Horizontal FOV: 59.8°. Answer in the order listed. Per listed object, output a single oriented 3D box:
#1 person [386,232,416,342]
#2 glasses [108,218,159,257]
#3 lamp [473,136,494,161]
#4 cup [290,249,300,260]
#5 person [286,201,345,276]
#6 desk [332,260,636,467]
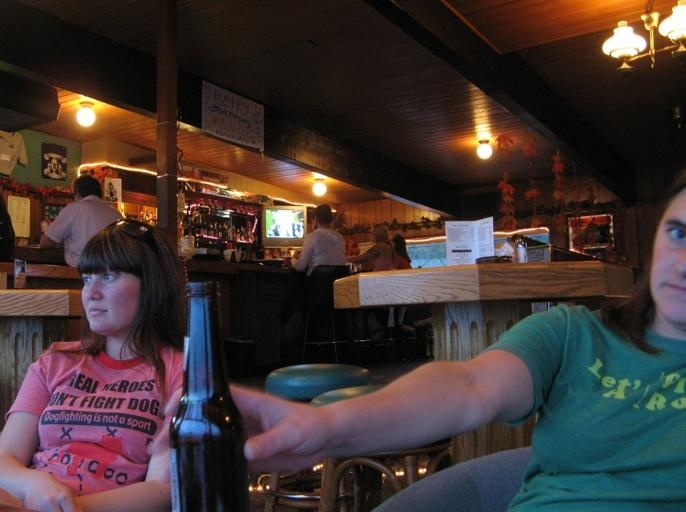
[{"bbox_3d":[0.622,0.210,7.212,0.363,1.103,0.357,-4,25,-6],"label":"person"},{"bbox_3d":[-0.572,-0.062,1.653,0.105,0.109,0.033,10,15,28],"label":"glasses"},{"bbox_3d":[1.936,-1.469,8.098,0.247,0.302,0.252,1,-7,-4],"label":"lamp"},{"bbox_3d":[-0.728,-0.033,9.089,0.116,0.164,0.124,2,-11,0],"label":"cup"},{"bbox_3d":[-0.238,-0.106,6.210,0.568,0.798,0.601,-5,-5,35],"label":"person"},{"bbox_3d":[0.411,0.321,2.092,0.807,0.851,0.789,1,-1,-20],"label":"desk"}]
